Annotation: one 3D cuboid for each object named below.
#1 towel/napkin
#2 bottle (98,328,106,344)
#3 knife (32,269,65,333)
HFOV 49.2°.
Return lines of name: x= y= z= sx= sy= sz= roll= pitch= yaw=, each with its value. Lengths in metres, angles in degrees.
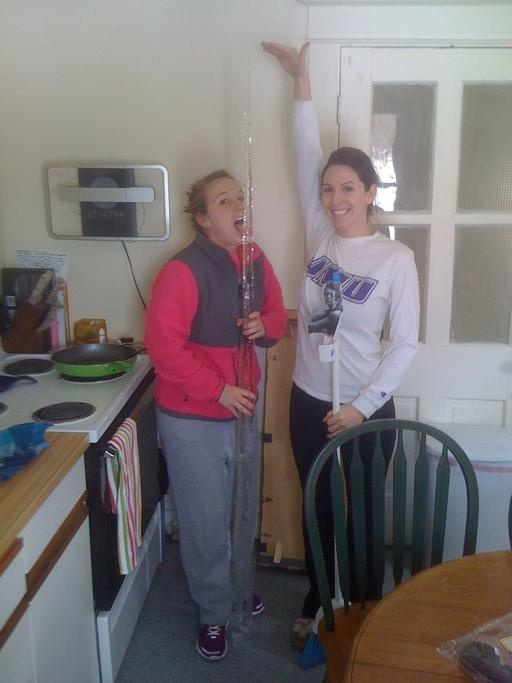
towel/napkin: x=-0.350 y=0.399 z=1.492 sx=0.067 sy=0.358 sz=0.240 roll=-1 pitch=12 yaw=-8
bottle: x=-0.556 y=-0.027 z=2.013 sx=0.010 sy=0.051 sz=0.037 roll=4 pitch=12 yaw=15
knife: x=-0.736 y=-0.149 z=1.994 sx=0.089 sy=0.206 sz=0.143 roll=3 pitch=12 yaw=12
